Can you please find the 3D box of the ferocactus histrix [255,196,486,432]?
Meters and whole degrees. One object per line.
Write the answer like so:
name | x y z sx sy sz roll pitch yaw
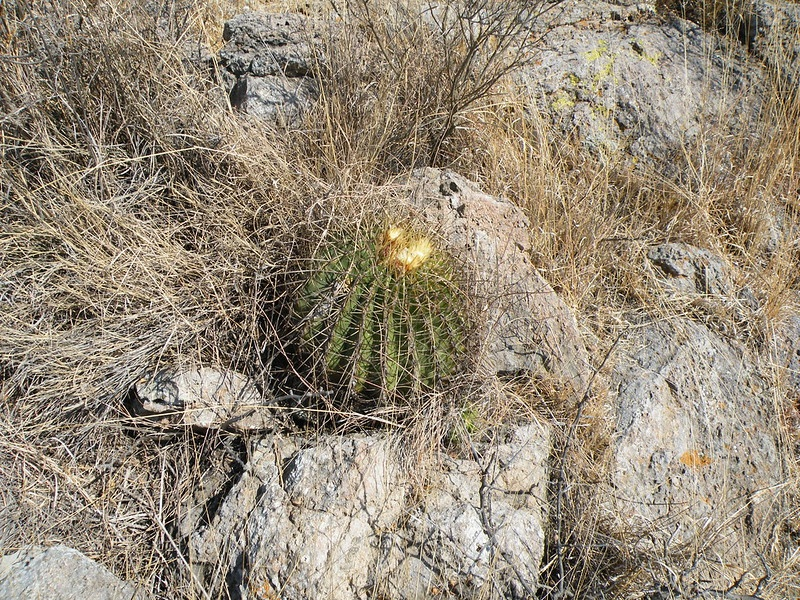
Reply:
ferocactus histrix | -0.189 0.059 3.976 0.862 1.122 0.959 5 13 -25
